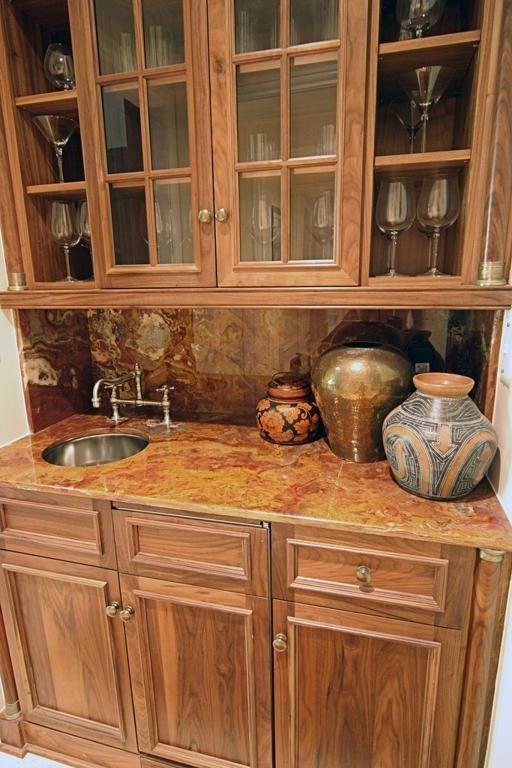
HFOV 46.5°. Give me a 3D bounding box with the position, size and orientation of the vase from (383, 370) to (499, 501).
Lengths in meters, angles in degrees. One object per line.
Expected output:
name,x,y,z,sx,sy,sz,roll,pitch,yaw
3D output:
vase,0.372,0.120,1.223,0.216,0.246,0.142,2,20,12

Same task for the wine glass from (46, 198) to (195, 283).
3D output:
wine glass,-0.325,-0.358,1.457,0.245,0.159,0.095,2,17,13

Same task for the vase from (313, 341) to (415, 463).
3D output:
vase,0.216,0.029,1.464,0.247,0.277,0.251,-2,9,-5

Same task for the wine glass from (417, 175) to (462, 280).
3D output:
wine glass,0.418,-0.359,1.359,0.092,0.227,0.217,6,21,21

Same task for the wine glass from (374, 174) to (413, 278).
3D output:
wine glass,0.317,-0.354,1.374,0.088,0.230,0.269,2,20,11

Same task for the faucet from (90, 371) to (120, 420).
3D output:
faucet,-0.448,0.040,1.803,0.092,0.151,0.147,1,11,5
